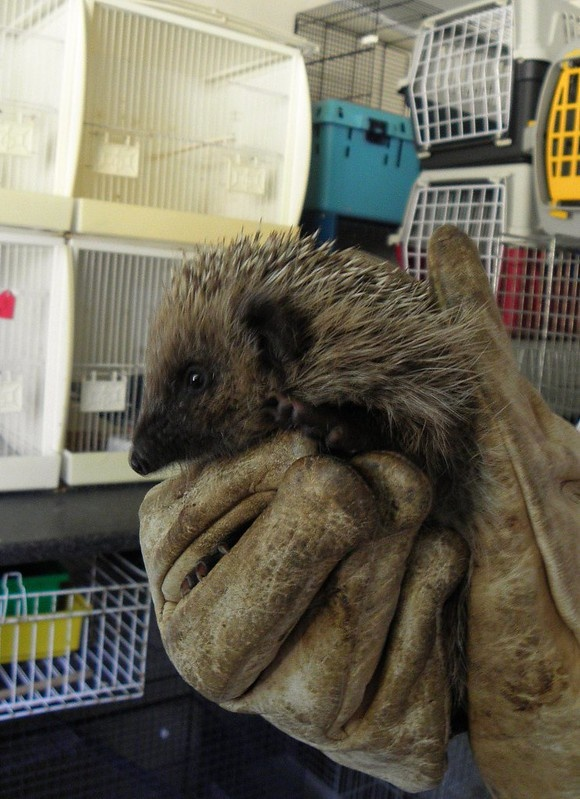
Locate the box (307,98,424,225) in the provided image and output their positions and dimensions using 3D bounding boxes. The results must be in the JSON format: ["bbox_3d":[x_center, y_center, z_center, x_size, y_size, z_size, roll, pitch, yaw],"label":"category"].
[{"bbox_3d":[0.243,-0.645,1.739,0.302,0.210,0.187,9,29,11],"label":"box"}]
